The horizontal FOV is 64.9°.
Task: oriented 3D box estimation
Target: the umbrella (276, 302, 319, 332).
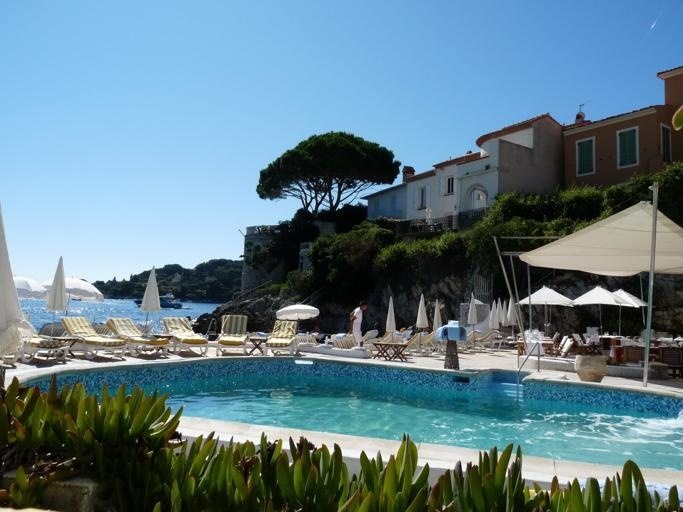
[{"bbox_3d":[-1.148,1.763,16.689,1.379,0.998,1.452,-1,0,42],"label":"umbrella"}]
